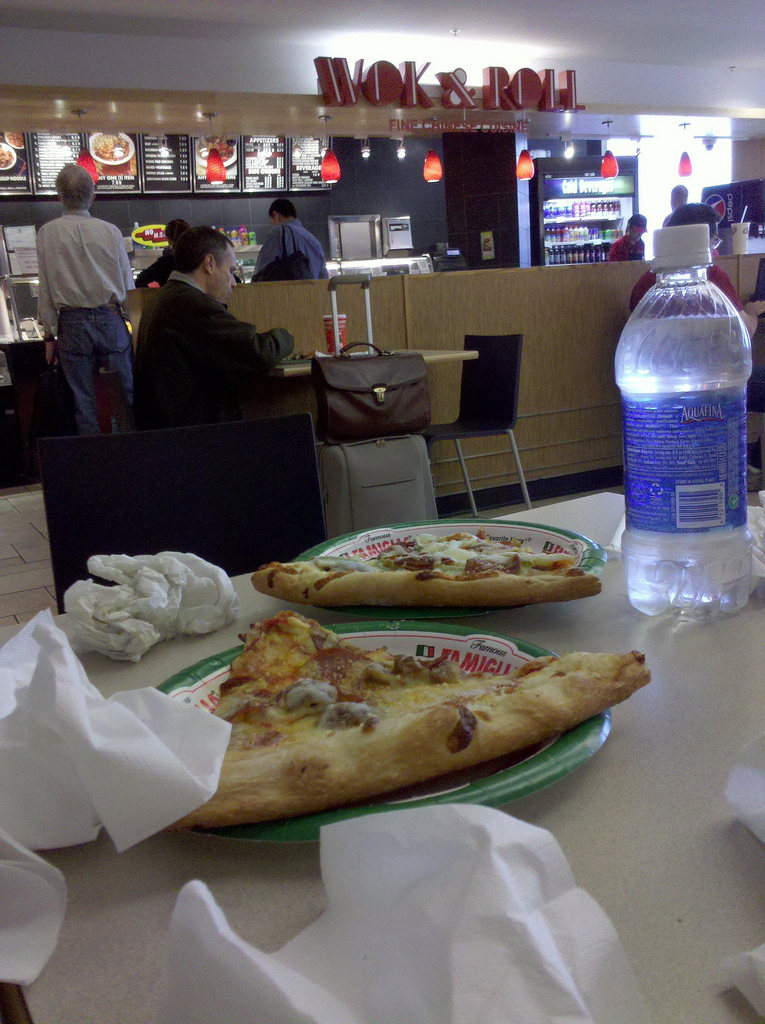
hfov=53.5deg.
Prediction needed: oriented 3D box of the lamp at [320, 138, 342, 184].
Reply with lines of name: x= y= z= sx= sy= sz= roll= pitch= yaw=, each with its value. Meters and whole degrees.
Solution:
lamp: x=-0.438 y=-2.915 z=6.299 sx=0.132 sy=0.265 sz=0.547 roll=-7 pitch=20 yaw=-2

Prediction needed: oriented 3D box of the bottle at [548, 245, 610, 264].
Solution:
bottle: x=2.359 y=-3.126 z=9.103 sx=0.895 sy=0.207 sz=0.330 roll=-15 pitch=21 yaw=-24

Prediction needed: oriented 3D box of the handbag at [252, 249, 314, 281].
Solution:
handbag: x=-0.573 y=-1.414 z=4.453 sx=0.312 sy=0.114 sz=0.274 roll=18 pitch=57 yaw=29

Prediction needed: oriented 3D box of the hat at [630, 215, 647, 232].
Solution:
hat: x=2.197 y=-2.503 z=6.576 sx=0.131 sy=0.098 sz=0.171 roll=-15 pitch=39 yaw=-9

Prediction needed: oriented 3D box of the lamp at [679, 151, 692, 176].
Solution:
lamp: x=3.243 y=-3.768 z=8.175 sx=0.113 sy=0.227 sz=0.348 roll=2 pitch=21 yaw=21

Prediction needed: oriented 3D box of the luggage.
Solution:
luggage: x=-0.032 y=-0.407 z=3.028 sx=0.433 sy=1.042 sz=0.342 roll=-14 pitch=35 yaw=-9
